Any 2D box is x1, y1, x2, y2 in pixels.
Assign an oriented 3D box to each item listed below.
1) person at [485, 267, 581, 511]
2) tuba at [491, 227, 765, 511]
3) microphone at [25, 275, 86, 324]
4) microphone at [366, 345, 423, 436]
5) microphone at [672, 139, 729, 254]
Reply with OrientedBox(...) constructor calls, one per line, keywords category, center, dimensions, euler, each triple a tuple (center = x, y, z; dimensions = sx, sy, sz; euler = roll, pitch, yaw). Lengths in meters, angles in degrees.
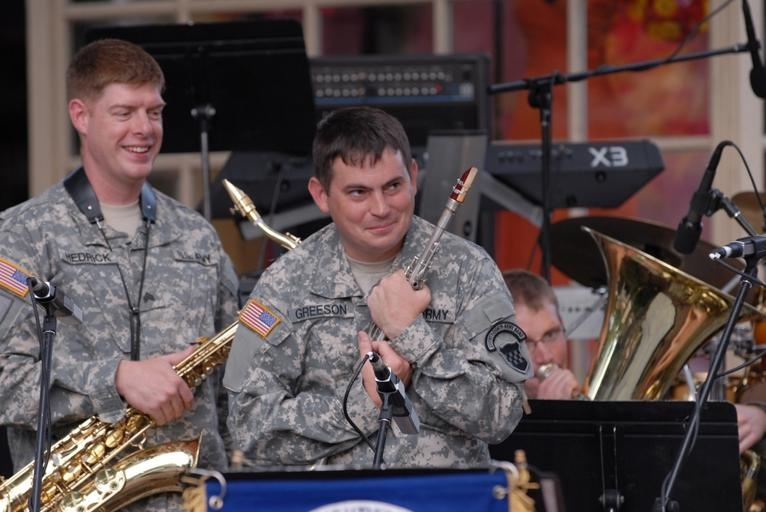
OrientedBox(category="person", center=(0.908, 0.582, 7.624), dimensions=(0.590, 0.943, 0.494), euler=(-7, 6, -4))
OrientedBox(category="tuba", center=(1.301, 0.618, 7.293), dimensions=(1.261, 1.316, 1.012), euler=(9, -13, 47))
OrientedBox(category="microphone", center=(-1.552, 0.213, 6.728), dimensions=(0.102, 0.099, 0.390), euler=(-2, -18, 14))
OrientedBox(category="microphone", center=(0.068, 0.647, 6.395), dimensions=(0.143, 0.516, 0.156), euler=(-8, 35, 31))
OrientedBox(category="microphone", center=(1.622, -0.287, 7.178), dimensions=(0.223, 0.596, 0.226), euler=(7, 9, 13))
